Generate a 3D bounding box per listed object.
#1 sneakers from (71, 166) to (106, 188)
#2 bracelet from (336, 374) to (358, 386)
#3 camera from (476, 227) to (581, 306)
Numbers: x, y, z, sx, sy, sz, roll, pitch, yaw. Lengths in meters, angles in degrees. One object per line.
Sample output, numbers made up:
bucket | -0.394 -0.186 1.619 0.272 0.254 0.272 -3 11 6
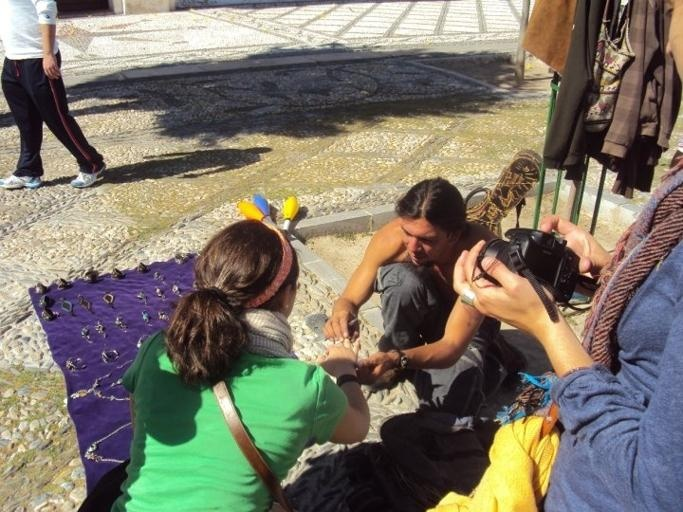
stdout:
sneakers | -2.876 -0.905 5.070 0.420 0.140 0.190 -25 -1 -3
bracelet | 0.015 0.486 1.757 0.054 0.015 0.048 0 8 -10
camera | 0.647 0.025 1.532 0.320 0.288 0.165 14 70 1
